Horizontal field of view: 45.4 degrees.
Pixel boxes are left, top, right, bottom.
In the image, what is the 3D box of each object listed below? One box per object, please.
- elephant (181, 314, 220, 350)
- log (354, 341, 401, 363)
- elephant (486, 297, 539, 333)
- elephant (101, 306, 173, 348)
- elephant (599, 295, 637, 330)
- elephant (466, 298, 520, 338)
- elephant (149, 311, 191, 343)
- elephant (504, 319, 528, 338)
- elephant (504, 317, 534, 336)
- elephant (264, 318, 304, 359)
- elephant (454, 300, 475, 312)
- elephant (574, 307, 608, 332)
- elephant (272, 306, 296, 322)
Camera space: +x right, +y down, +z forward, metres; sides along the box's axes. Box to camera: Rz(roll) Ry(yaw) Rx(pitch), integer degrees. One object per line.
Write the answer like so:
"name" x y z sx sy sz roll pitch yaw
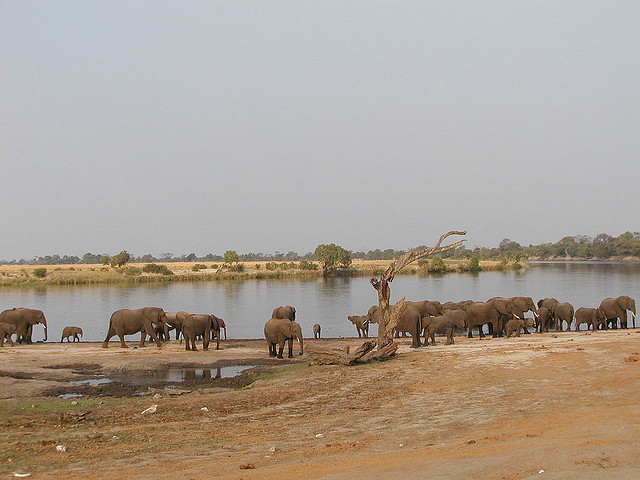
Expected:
"elephant" -6.264 4.775 41.281 1.136 2.074 2.582 1 2 45
"log" 2.549 4.892 33.181 1.924 0.751 0.641 0 0 -35
"elephant" 11.159 4.071 43.095 3.261 2.209 1.690 0 3 -1
"elephant" -9.616 4.685 41.221 3.940 2.511 1.550 1 12 -15
"elephant" 17.305 4.225 44.618 1.806 1.857 1.823 0 0 1
"elephant" 9.211 4.360 43.016 3.567 2.510 1.601 -5 -4 22
"elephant" -8.552 4.828 41.957 2.820 1.884 1.476 -3 -1 -2
"elephant" 10.685 4.722 41.421 1.472 0.971 0.681 -3 2 -34
"elephant" 10.776 4.714 41.803 0.925 0.832 2.673 0 0 30
"elephant" -1.607 4.680 37.932 1.456 2.089 1.557 -5 1 39
"elephant" 8.427 3.881 44.687 1.170 0.786 0.621 -6 -3 1
"elephant" 15.657 4.611 44.353 1.647 1.230 1.867 0 0 23
"elephant" -1.897 4.036 42.089 0.621 0.899 1.423 0 0 -10
